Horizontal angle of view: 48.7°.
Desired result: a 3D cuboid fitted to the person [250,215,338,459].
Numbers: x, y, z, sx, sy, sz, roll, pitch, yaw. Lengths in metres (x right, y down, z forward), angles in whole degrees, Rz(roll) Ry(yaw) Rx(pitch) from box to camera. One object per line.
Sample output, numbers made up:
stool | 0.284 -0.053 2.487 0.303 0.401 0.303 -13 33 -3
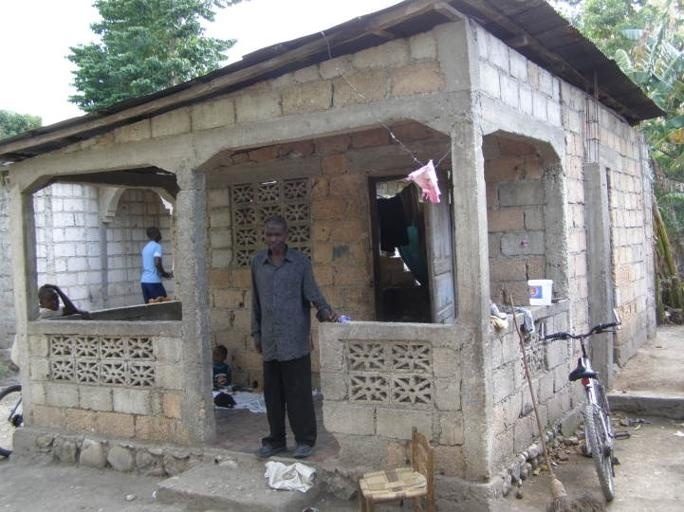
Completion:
person | -0.562 0.872 8.021 0.738 2.522 0.534 -2 -5 -9

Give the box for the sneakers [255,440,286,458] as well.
sneakers | -0.758 2.091 8.099 0.347 0.145 0.130 3 -7 -17

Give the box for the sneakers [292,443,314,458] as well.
sneakers | -0.421 2.064 7.956 0.092 0.112 0.258 -4 -13 25

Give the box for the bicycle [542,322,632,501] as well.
bicycle | 2.328 1.574 8.051 0.786 1.127 1.858 -17 16 16

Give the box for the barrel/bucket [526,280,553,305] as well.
barrel/bucket | 2.246 0.425 8.668 0.267 0.328 0.264 1 -11 0
